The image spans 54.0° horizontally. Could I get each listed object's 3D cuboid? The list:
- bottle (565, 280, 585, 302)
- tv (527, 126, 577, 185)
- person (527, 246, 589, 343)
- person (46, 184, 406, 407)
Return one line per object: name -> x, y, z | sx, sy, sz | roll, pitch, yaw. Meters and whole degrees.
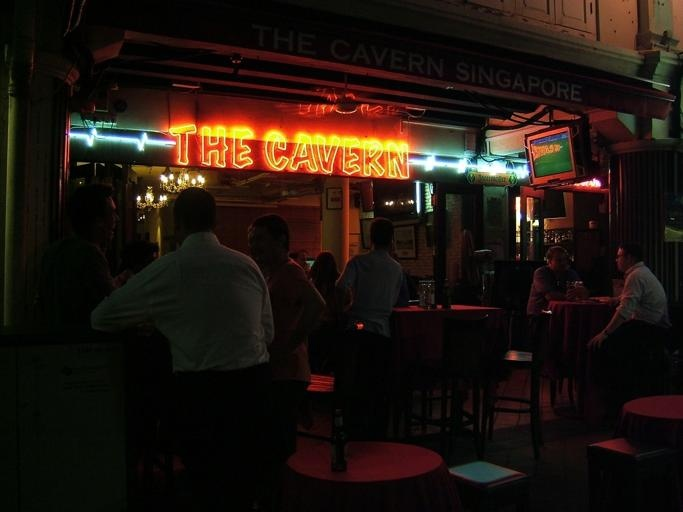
bottle -> 2.751, 0.409, 7.794 | 0.205, 0.355, 0.210 | 2, 1, 0
tv -> 2.768, -1.323, 8.758 | 0.363, 0.679, 0.653 | -7, -2, -28
person -> 2.596, 0.491, 8.108 | 0.595, 1.194, 0.748 | 4, -3, -18
person -> -1.159, 0.171, 4.210 | 1.471, 1.160, 1.157 | 4, -1, 12
